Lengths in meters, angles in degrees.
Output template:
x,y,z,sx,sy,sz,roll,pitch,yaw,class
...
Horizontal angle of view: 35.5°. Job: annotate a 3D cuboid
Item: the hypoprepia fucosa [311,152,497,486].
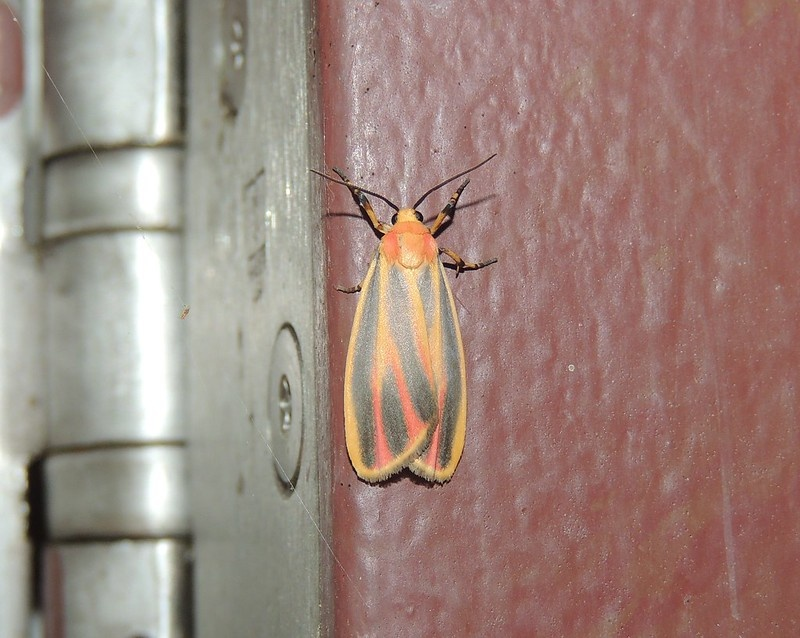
x,y,z,sx,sy,sz,roll,pitch,yaw,class
0.032,0.034,2.407,0.313,0.563,0.371,0,-21,-8,hypoprepia fucosa
